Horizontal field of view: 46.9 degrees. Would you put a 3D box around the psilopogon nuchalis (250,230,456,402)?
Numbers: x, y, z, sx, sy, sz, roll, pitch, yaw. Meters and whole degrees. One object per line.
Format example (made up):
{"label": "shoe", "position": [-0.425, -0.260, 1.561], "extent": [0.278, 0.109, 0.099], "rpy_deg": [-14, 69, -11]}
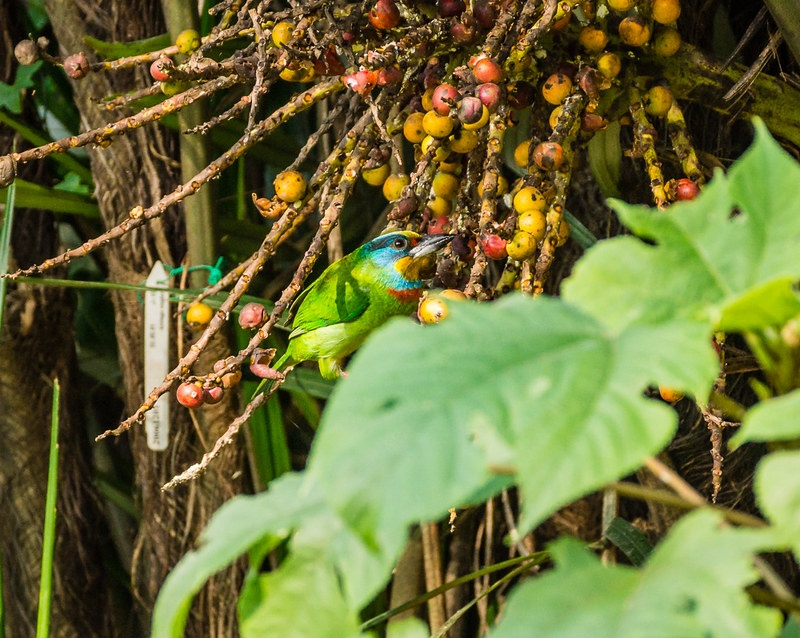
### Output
{"label": "psilopogon nuchalis", "position": [-0.077, -0.014, 1.266], "extent": [0.306, 0.203, 0.132], "rpy_deg": [-2, 10, 15]}
